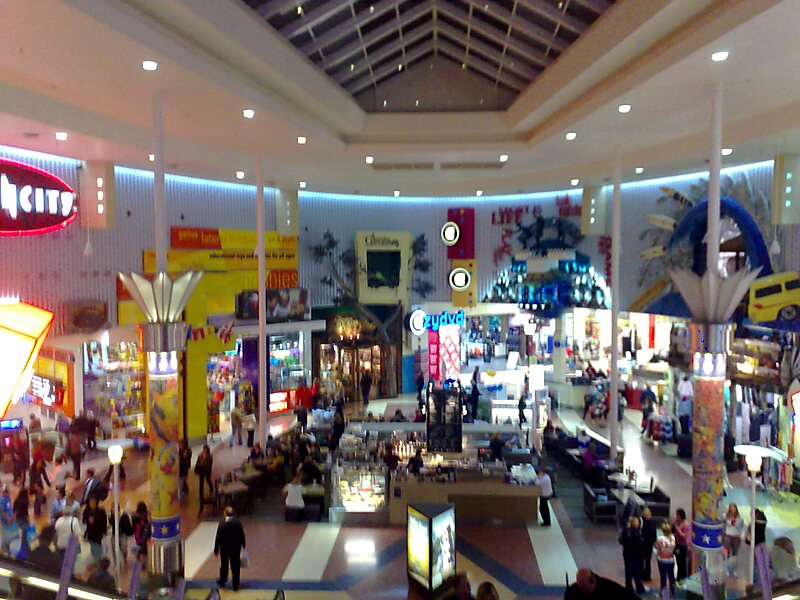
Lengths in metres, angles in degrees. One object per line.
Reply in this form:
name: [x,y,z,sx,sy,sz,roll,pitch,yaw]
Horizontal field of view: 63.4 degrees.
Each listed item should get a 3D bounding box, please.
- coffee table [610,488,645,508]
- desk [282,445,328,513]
coffee table: [4.552,3.983,12.979,0.405,0.178,0.713,-1,1,3]
desk: [-1.944,3.871,13.857,0.762,0.445,1.339,1,14,-1]
